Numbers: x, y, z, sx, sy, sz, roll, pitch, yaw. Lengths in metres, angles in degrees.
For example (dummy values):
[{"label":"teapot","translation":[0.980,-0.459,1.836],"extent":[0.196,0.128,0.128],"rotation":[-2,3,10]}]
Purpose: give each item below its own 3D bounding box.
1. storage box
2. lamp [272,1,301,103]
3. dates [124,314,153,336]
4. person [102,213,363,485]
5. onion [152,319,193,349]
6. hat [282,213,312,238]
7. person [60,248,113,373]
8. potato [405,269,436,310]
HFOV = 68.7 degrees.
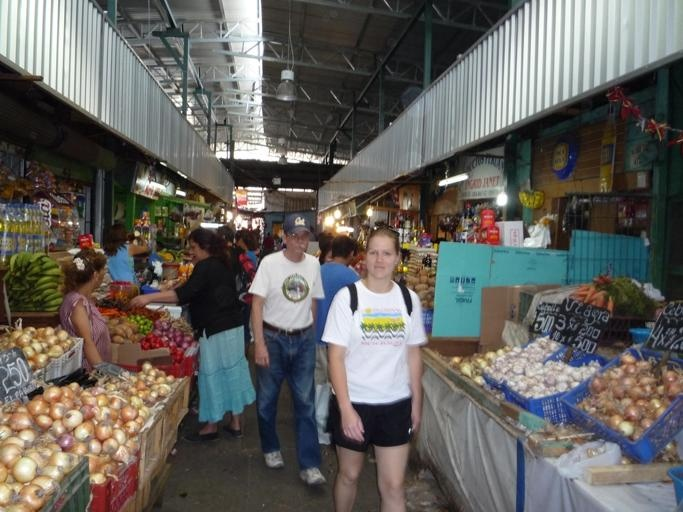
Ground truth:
[{"label":"storage box","translation":[1.823,0.593,5.329],"extent":[0.589,0.822,0.663],"rotation":[1,1,-5]},{"label":"lamp","translation":[-1.424,-4.898,12.900],"extent":[0.448,4.160,0.517],"rotation":[1,5,-2]},{"label":"dates","translation":[-2.103,0.716,5.221],"extent":[0.160,0.095,0.223],"rotation":[38,-5,-4]},{"label":"person","translation":[-0.536,0.751,4.821],"extent":[0.935,3.368,1.081],"rotation":[0,0,-5]},{"label":"onion","translation":[-1.779,0.800,5.305],"extent":[0.258,0.143,0.350],"rotation":[36,2,-43]},{"label":"hat","translation":[-0.386,-0.285,4.405],"extent":[0.247,0.192,0.367],"rotation":[0,5,-8]},{"label":"person","translation":[-2.075,0.457,4.053],"extent":[0.169,1.068,0.360],"rotation":[1,2,-8]},{"label":"potato","translation":[1.002,0.379,6.212],"extent":[0.183,0.381,0.436],"rotation":[-16,-4,27]}]
